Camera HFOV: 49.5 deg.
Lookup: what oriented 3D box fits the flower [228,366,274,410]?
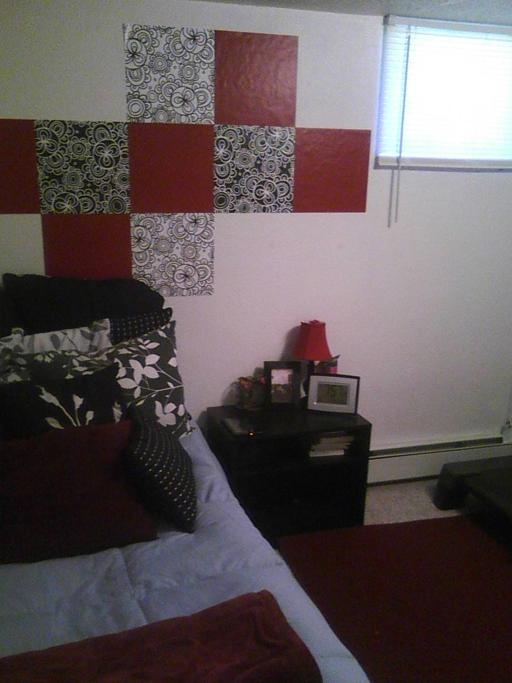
[{"bbox_3d":[-0.021,0.207,2.467,0.170,0.187,0.167,1,1,-2],"label":"flower"}]

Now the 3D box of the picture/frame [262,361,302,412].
[{"bbox_3d":[0.109,0.197,2.424,0.218,0.260,0.030,0,-4,-6],"label":"picture/frame"}]

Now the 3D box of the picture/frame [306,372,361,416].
[{"bbox_3d":[0.329,0.229,2.407,0.186,0.159,0.065,3,9,1],"label":"picture/frame"}]

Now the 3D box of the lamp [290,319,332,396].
[{"bbox_3d":[0.255,0.061,2.500,0.181,0.300,0.165,10,16,20],"label":"lamp"}]
